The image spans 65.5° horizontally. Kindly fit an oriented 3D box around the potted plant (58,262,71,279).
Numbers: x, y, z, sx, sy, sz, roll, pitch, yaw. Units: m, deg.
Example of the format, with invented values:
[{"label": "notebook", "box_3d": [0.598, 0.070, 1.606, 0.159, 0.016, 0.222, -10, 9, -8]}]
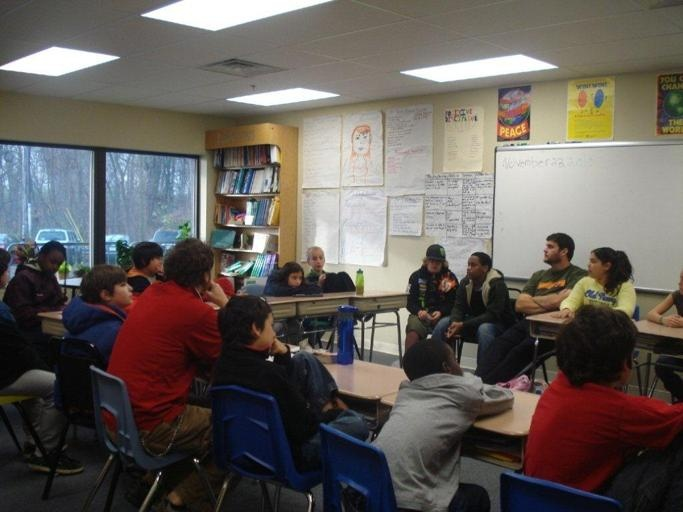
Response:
[{"label": "potted plant", "box_3d": [-3.282, 0.168, 6.263, 0.200, 0.202, 0.201, 2, -3, -18]}]
